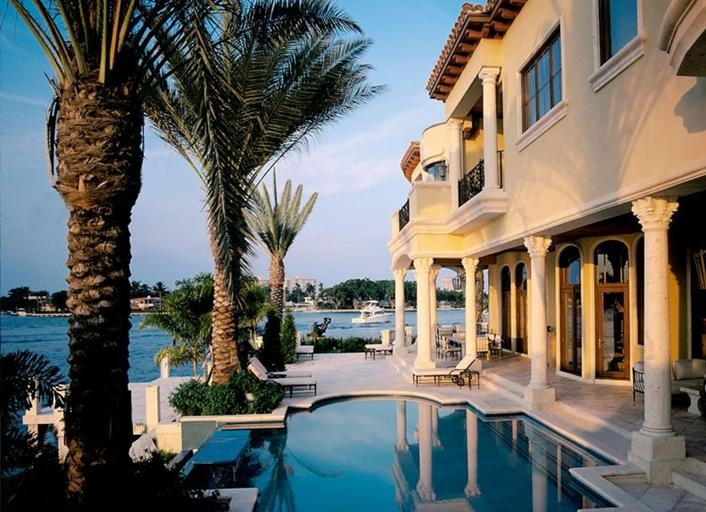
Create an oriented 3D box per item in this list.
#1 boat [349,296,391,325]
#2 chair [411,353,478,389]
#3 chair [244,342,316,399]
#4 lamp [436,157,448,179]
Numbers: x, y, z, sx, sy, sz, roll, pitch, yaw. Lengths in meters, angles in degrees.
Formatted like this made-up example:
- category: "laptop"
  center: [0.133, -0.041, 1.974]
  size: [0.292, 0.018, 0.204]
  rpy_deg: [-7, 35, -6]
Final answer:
- category: "boat"
  center: [1.609, 7.111, 72.466]
  size: [5.615, 2.624, 2.633]
  rpy_deg: [-6, -4, 36]
- category: "chair"
  center: [2.872, 3.563, 18.559]
  size: [1.577, 0.897, 1.071]
  rpy_deg: [1, -7, 4]
- category: "chair"
  center: [-1.990, 3.394, 17.603]
  size: [1.785, 1.069, 1.167]
  rpy_deg: [1, 0, -13]
- category: "lamp"
  center: [3.423, -3.320, 22.833]
  size: [0.292, 0.941, 0.884]
  rpy_deg: [-1, -7, 9]
